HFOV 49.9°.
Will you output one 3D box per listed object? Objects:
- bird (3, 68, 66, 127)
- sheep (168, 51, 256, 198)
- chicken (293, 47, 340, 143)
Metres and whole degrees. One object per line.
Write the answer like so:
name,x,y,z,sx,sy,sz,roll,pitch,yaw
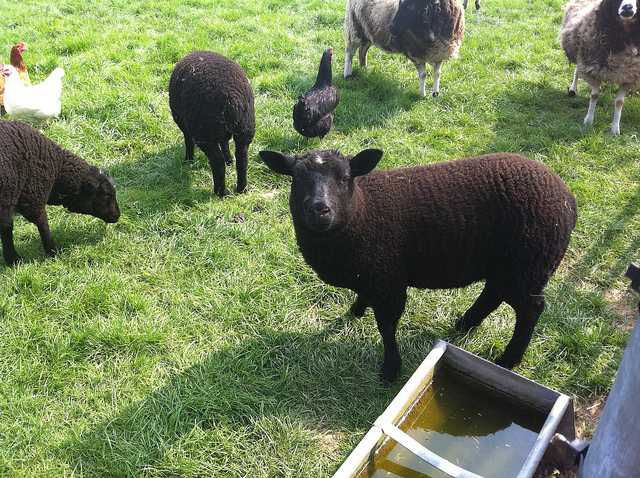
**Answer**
bird,-3.948,-2.011,9.635,0.859,0.869,0.628,-9,27,-22
sheep,-1.537,-1.780,9.298,0.918,1.631,2.256,-12,32,-22
chicken,-0.018,-1.979,9.750,0.490,1.239,1.267,6,30,20
